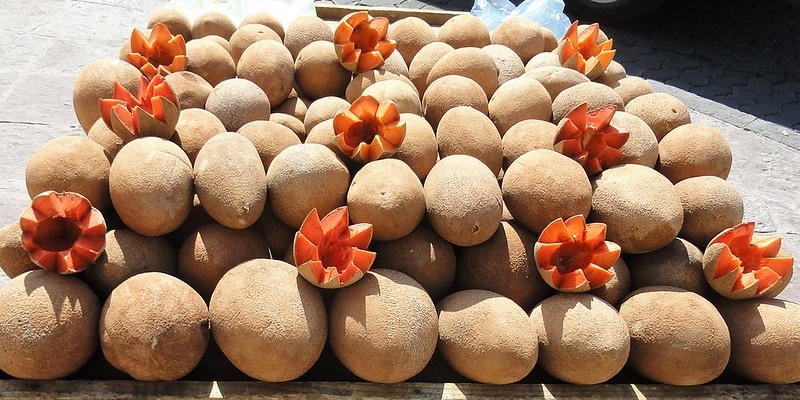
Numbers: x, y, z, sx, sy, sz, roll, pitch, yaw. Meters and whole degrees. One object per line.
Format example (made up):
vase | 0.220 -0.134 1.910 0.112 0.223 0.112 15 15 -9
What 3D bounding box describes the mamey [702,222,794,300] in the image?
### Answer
mamey | 2.565 0.504 5.220 0.604 0.370 0.612 21 57 18
